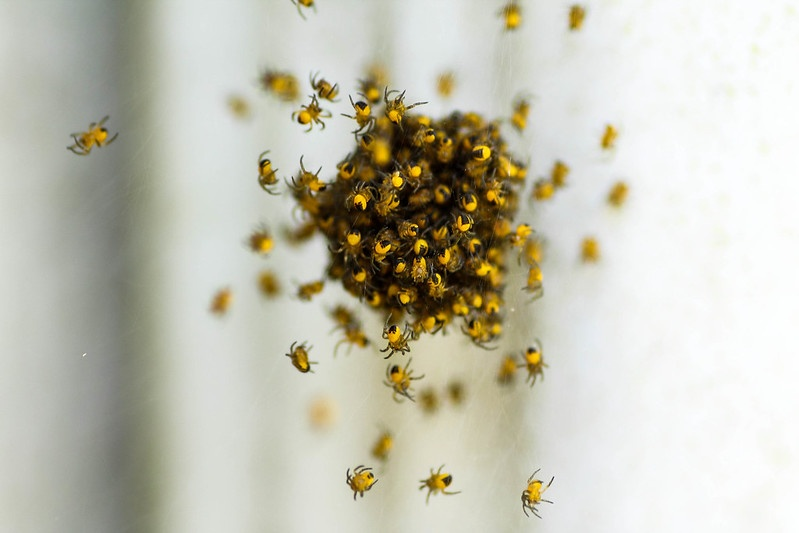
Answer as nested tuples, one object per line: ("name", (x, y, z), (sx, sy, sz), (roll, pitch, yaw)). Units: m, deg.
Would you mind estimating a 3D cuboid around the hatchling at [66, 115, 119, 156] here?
("hatchling", (-0.629, -0.270, 2.188), (0.090, 0.077, 0.030), (-30, -7, 11))
